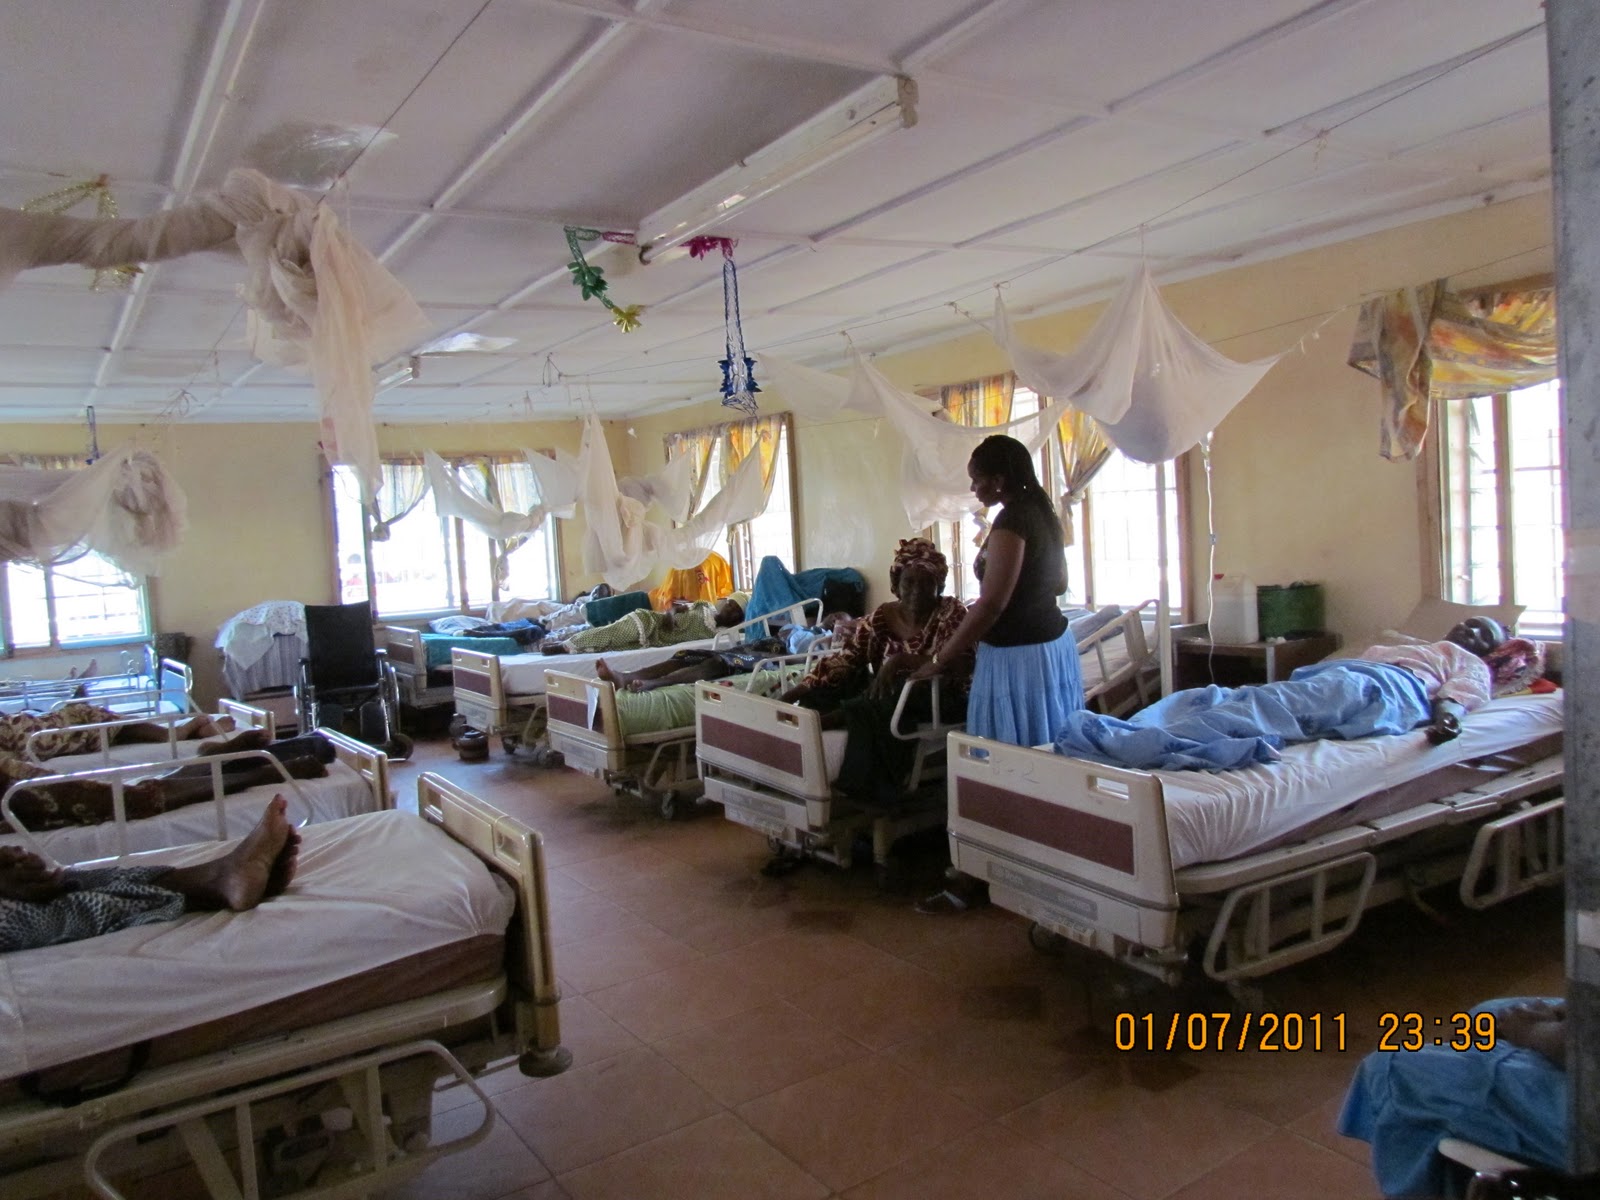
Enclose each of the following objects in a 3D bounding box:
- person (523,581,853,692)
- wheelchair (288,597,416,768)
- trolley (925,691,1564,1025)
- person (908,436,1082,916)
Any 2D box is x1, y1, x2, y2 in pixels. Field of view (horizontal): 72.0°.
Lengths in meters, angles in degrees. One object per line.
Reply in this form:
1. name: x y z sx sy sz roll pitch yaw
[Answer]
1. person: -0.758 0.252 7.547 1.053 0.508 0.575 -14 10 -30
2. wheelchair: -3.239 0.608 7.897 0.733 1.031 1.049 -8 -7 -13
3. trolley: 1.745 0.678 3.782 1.908 0.621 0.963 -2 -3 -30
4. person: 0.761 0.234 4.343 0.577 1.729 0.513 3 7 20
